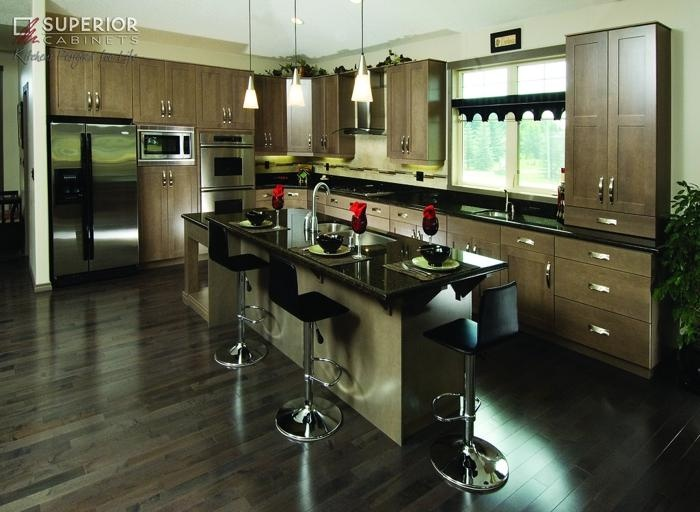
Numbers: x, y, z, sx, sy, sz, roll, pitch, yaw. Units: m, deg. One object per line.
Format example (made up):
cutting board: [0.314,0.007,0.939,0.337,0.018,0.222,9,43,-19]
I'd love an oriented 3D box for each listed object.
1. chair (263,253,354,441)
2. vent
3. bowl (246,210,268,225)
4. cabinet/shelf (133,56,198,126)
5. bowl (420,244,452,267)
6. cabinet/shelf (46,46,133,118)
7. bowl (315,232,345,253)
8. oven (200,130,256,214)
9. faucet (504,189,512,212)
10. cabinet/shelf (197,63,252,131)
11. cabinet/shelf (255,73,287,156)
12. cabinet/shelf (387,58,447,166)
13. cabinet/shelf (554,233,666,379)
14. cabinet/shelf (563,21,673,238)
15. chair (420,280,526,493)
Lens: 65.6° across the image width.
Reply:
chair: [-0.306,0.650,4.209,0.677,1.303,0.647,-8,16,-28]
vent: [0.337,-2.149,7.713,1.121,0.987,0.431,-5,33,-24]
bowl: [-0.886,-0.358,5.111,0.161,0.123,0.151,2,6,0]
cabinet/shelf: [-2.551,-2.251,7.477,0.859,0.855,0.433,-2,22,-20]
bowl: [0.638,-0.018,4.047,0.217,0.139,0.304,2,16,9]
cabinet/shelf: [-3.323,-2.214,6.956,0.952,0.800,0.384,-8,40,-33]
bowl: [-0.153,-0.104,4.295,0.152,0.110,0.159,1,9,0]
oven: [-1.785,-1.016,8.215,0.898,1.620,0.816,-4,-12,2]
faucet: [1.788,-0.621,6.119,0.094,0.238,0.271,3,15,14]
cabinet/shelf: [-1.867,-2.234,7.965,0.881,0.876,0.422,-1,0,-26]
cabinet/shelf: [-1.228,-2.151,8.372,0.517,1.169,0.155,-4,14,-14]
cabinet/shelf: [0.822,-1.774,6.900,0.392,1.270,0.693,-12,17,-40]
cabinet/shelf: [2.416,0.318,5.327,0.971,1.590,1.106,-5,8,-34]
cabinet/shelf: [2.419,-1.114,4.944,0.768,1.858,0.488,7,19,43]
chair: [0.861,0.821,3.860,0.655,1.361,0.785,-3,15,-8]
